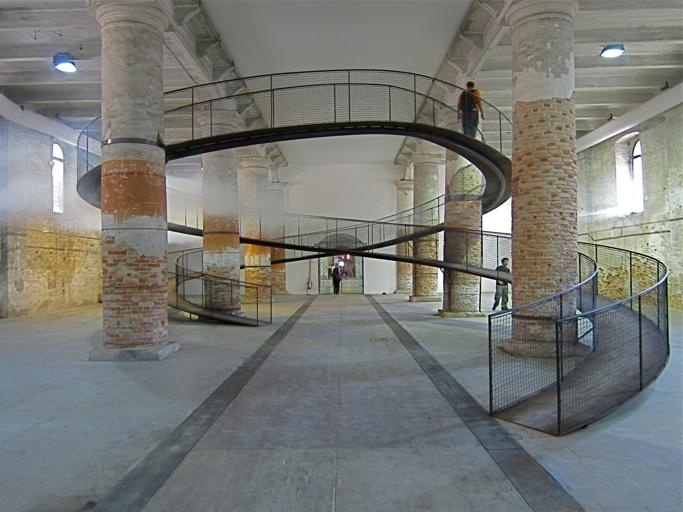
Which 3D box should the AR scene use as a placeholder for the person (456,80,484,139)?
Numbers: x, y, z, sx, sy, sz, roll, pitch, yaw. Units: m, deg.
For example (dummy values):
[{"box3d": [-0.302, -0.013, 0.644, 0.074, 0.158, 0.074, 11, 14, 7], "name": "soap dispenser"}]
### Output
[{"box3d": [3.040, -3.498, 11.962, 0.576, 1.444, 1.084, 1, 7, 12], "name": "person"}]
